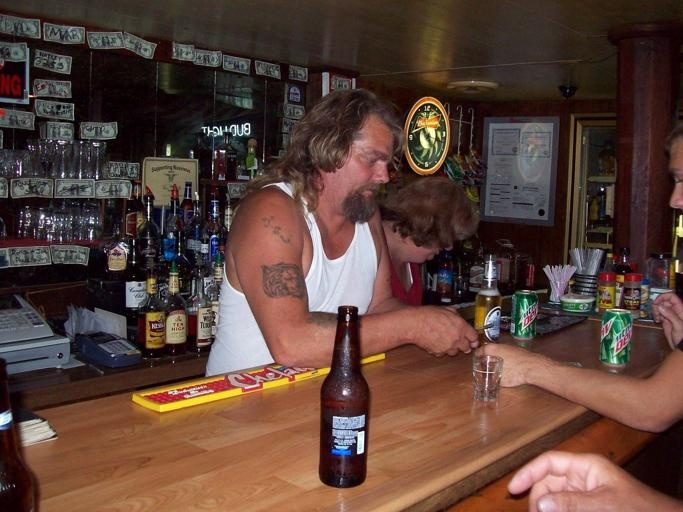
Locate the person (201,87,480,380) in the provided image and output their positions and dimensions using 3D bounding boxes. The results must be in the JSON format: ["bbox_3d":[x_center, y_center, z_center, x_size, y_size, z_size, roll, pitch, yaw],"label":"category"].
[{"bbox_3d":[-0.049,-0.079,1.778,0.689,1.071,0.513,-2,7,-36],"label":"person"}]

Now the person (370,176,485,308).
[{"bbox_3d":[0.396,-0.119,2.773,0.750,0.844,0.582,7,13,15],"label":"person"}]

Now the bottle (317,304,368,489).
[{"bbox_3d":[0.007,0.262,0.936,0.091,0.339,0.063,2,6,-1],"label":"bottle"}]

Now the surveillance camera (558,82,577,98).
[{"bbox_3d":[2.148,-1.567,4.705,0.144,0.098,0.133,1,1,2],"label":"surveillance camera"}]

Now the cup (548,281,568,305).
[{"bbox_3d":[1.270,0.209,2.905,0.135,0.138,0.134,2,2,0],"label":"cup"}]
